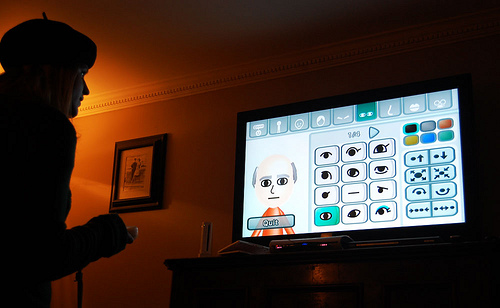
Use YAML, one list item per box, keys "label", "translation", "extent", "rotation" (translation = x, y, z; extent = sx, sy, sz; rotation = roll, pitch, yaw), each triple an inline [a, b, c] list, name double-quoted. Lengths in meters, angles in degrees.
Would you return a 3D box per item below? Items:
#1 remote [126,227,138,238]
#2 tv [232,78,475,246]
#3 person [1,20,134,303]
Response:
- label: "remote"
  translation: [-0.461, 0.303, 1.992]
  extent: [0.033, 0.041, 0.041]
  rotation: [-16, -49, 15]
- label: "tv"
  translation: [0.637, 0.081, 3.063]
  extent: [1.140, 0.668, 0.077]
  rotation: [-7, -21, 23]
- label: "person"
  translation: [-0.747, 0.002, 1.991]
  extent: [0.512, 1.115, 0.280]
  rotation: [10, -16, -30]
